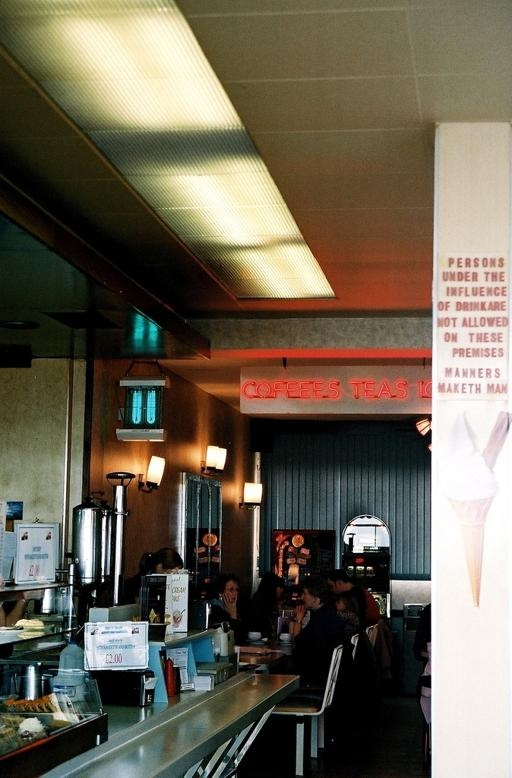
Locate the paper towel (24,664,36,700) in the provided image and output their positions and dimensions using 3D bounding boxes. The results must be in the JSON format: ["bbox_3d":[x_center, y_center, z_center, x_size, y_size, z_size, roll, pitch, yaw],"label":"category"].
[{"bbox_3d":[-0.890,1.166,2.744,0.047,0.093,0.198,4,-9,-18],"label":"paper towel"}]

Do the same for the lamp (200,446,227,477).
[{"bbox_3d":[-0.594,0.962,9.515,0.296,0.413,0.357,0,-9,4],"label":"lamp"}]

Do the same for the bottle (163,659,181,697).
[{"bbox_3d":[-0.468,1.600,3.858,0.090,0.214,0.274,2,-9,-5],"label":"bottle"}]

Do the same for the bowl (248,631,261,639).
[{"bbox_3d":[-0.021,2.581,7.258,0.137,0.073,0.155,1,-9,-3],"label":"bowl"}]

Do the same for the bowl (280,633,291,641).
[{"bbox_3d":[0.307,2.651,7.416,0.083,0.053,0.072,1,-6,-13],"label":"bowl"}]

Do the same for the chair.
[{"bbox_3d":[0.597,2.909,6.431,0.625,1.037,1.606,-1,-15,15],"label":"chair"}]

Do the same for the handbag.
[{"bbox_3d":[1.473,3.120,8.939,0.312,1.109,1.141,-4,4,-13],"label":"handbag"}]

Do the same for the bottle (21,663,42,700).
[{"bbox_3d":[-0.891,1.176,2.774,0.084,0.142,0.090,0,-1,0],"label":"bottle"}]
